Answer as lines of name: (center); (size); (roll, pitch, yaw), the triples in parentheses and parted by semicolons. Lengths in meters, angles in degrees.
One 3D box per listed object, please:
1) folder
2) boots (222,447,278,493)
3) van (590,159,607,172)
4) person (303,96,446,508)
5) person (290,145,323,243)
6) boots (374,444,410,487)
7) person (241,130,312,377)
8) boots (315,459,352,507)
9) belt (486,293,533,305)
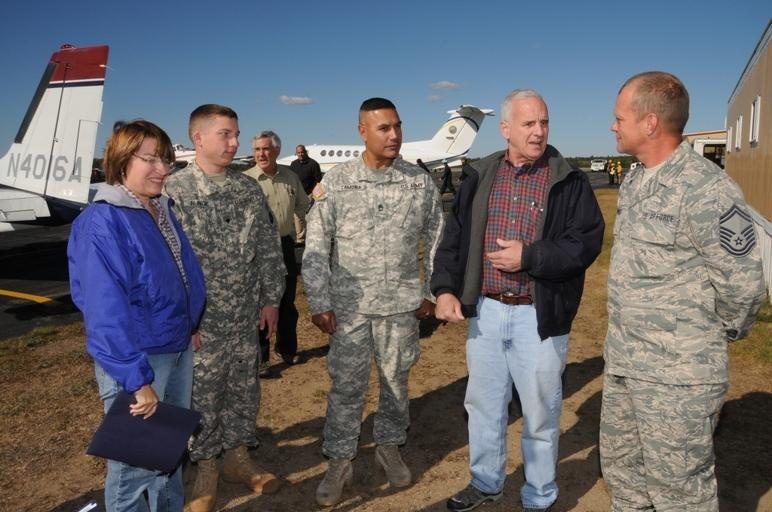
folder: (-1.557, 1.142, 3.419); (0.642, 0.583, 0.171); (30, -17, -15)
boots: (-1.156, 1.775, 4.559); (0.608, 0.334, 0.208); (8, 10, 27)
van: (26.379, -11.254, 65.849); (1.679, 1.363, 2.596); (-1, -1, 20)
person: (-0.104, 0.361, 4.453); (1.162, 3.246, 0.578); (-1, 7, -8)
person: (-1.716, -1.277, 11.185); (1.011, 2.014, 0.511); (19, 23, 36)
boots: (0.054, 1.759, 4.607); (0.169, 0.178, 0.435); (-2, 15, -33)
person: (-0.965, -0.141, 6.702); (1.051, 3.009, 1.433); (0, 1, -21)
boots: (-0.437, 1.844, 4.431); (0.177, 0.271, 0.479); (10, 2, 19)
belt: (0.947, 0.324, 4.083); (0.336, 0.076, 0.059); (1, 7, 13)
